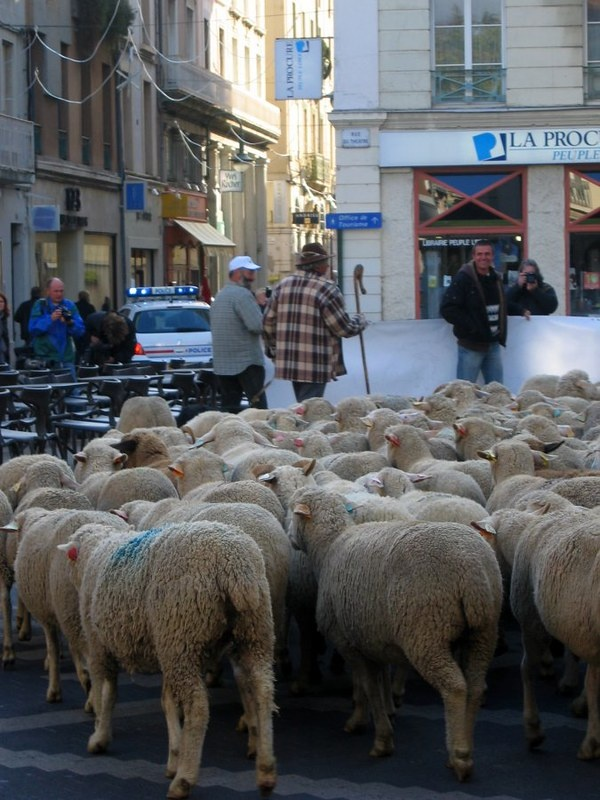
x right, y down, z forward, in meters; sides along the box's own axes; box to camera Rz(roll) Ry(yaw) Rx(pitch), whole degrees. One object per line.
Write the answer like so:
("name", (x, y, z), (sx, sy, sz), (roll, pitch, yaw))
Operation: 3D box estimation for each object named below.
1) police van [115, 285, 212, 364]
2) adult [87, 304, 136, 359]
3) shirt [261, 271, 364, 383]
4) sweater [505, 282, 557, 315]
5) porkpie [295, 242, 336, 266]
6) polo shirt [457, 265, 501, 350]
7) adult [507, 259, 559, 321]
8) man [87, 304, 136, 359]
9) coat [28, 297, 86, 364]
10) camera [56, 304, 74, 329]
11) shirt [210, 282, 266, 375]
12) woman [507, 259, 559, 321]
("police van", (-1.878, -1.069, 19.636), (1.134, 0.831, 1.834), (-1, 9, -10))
("adult", (-2.234, -0.699, 15.957), (0.595, 0.669, 0.615), (1, 10, 12))
("shirt", (0.064, -0.599, 11.408), (0.912, 0.920, 0.389), (5, 11, 31))
("sweater", (2.395, -1.049, 14.468), (0.459, 0.483, 0.280), (1, -25, 8))
("porkpie", (0.132, -1.202, 11.490), (0.240, 0.091, 0.259), (-6, 9, 20))
("polo shirt", (1.630, -0.881, 12.812), (0.457, 0.754, 0.286), (-4, 10, -16))
("adult", (2.398, -1.165, 14.438), (0.506, 0.558, 1.351), (0, 9, 8))
("man", (-2.235, -0.699, 15.958), (0.584, 0.669, 0.633), (1, 10, 10))
("coat", (-2.585, -0.751, 14.880), (0.642, 0.746, 0.473), (3, -9, -35))
("camera", (-2.434, -0.879, 14.480), (0.143, 0.092, 0.216), (17, 9, -24))
("shirt", (-0.561, -0.631, 12.499), (0.460, 0.844, 0.502), (-2, 10, -3))
("woman", (2.400, -1.167, 14.449), (0.506, 0.558, 1.327), (0, 9, 8))
